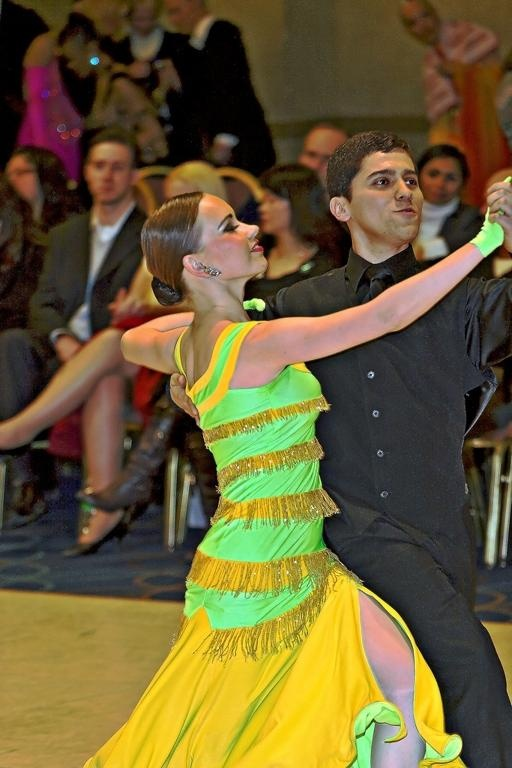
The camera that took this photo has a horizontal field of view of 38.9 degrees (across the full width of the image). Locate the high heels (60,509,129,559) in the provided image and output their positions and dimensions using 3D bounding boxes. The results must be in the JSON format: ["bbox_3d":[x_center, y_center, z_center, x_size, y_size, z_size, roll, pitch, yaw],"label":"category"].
[{"bbox_3d":[-0.860,0.796,3.965,0.221,0.369,0.145,41,2,-4],"label":"high heels"}]
